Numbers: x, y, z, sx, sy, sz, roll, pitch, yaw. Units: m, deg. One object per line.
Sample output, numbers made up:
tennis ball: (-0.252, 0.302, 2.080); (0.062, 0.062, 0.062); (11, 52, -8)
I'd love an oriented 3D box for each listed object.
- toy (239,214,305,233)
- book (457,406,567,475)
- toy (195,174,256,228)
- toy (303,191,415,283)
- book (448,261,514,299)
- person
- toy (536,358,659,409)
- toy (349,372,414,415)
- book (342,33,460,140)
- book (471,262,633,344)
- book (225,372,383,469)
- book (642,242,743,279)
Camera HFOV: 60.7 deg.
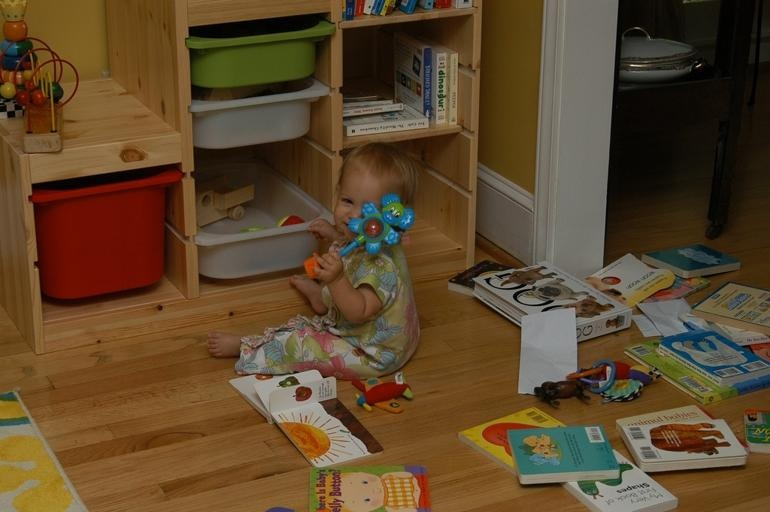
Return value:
toy: (-0.362, -0.111, 2.127); (0.164, 0.050, 0.085); (-2, 16, 2)
book: (0.301, 0.430, 1.590); (0.149, 0.019, 0.141); (-12, 28, -31)
toy: (-0.562, -0.192, 2.298); (0.207, 0.126, 0.152); (-23, 36, -35)
toy: (-0.081, -0.031, 1.765); (0.173, 0.319, 0.078); (54, 14, 18)
book: (0.300, 0.064, 2.222); (0.139, 0.027, 0.134); (-18, 30, -30)
person: (-0.089, -0.082, 2.025); (0.689, 0.705, 0.554); (7, 25, 3)
toy: (0.563, 0.350, 1.756); (0.233, 0.061, 0.143); (-21, 24, -21)
toy: (0.002, 0.356, 1.728); (0.105, 0.041, 0.126); (-17, 42, -21)
book: (0.019, -0.584, 2.227); (0.395, 0.239, 0.349); (-8, 25, -16)
book: (0.525, 0.146, 2.088); (0.312, 0.110, 0.406); (-22, 33, -29)
book: (-0.173, 0.361, 1.622); (0.169, 0.075, 0.333); (-12, 40, -34)
book: (1.082, 0.005, 2.324); (0.170, 0.023, 0.156); (-9, 22, -18)
